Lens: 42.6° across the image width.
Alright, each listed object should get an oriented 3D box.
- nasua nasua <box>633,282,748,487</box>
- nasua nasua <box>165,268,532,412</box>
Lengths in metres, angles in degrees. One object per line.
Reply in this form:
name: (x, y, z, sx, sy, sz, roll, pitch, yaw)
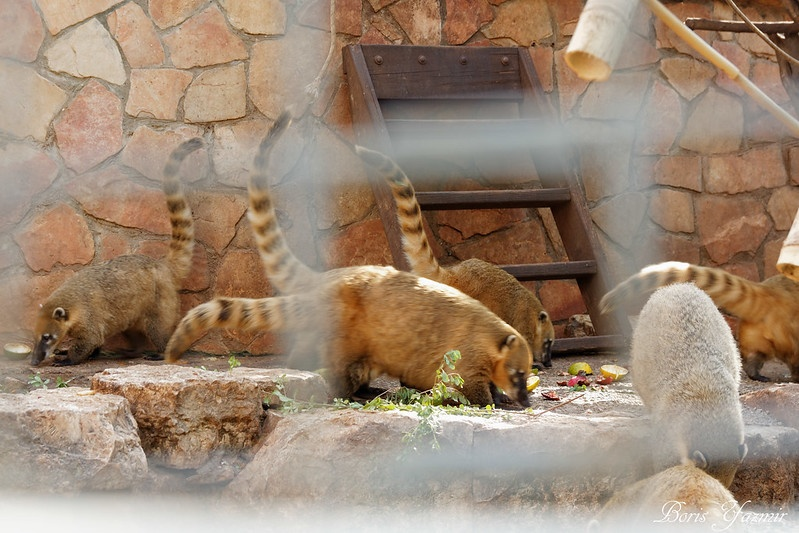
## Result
nasua nasua: (1.758, 0.693, 6.333, 0.567, 1.238, 0.666, -17, -27, 19)
nasua nasua: (-0.240, 0.494, 6.804, 2.187, 0.687, 0.542, 11, 1, -6)
